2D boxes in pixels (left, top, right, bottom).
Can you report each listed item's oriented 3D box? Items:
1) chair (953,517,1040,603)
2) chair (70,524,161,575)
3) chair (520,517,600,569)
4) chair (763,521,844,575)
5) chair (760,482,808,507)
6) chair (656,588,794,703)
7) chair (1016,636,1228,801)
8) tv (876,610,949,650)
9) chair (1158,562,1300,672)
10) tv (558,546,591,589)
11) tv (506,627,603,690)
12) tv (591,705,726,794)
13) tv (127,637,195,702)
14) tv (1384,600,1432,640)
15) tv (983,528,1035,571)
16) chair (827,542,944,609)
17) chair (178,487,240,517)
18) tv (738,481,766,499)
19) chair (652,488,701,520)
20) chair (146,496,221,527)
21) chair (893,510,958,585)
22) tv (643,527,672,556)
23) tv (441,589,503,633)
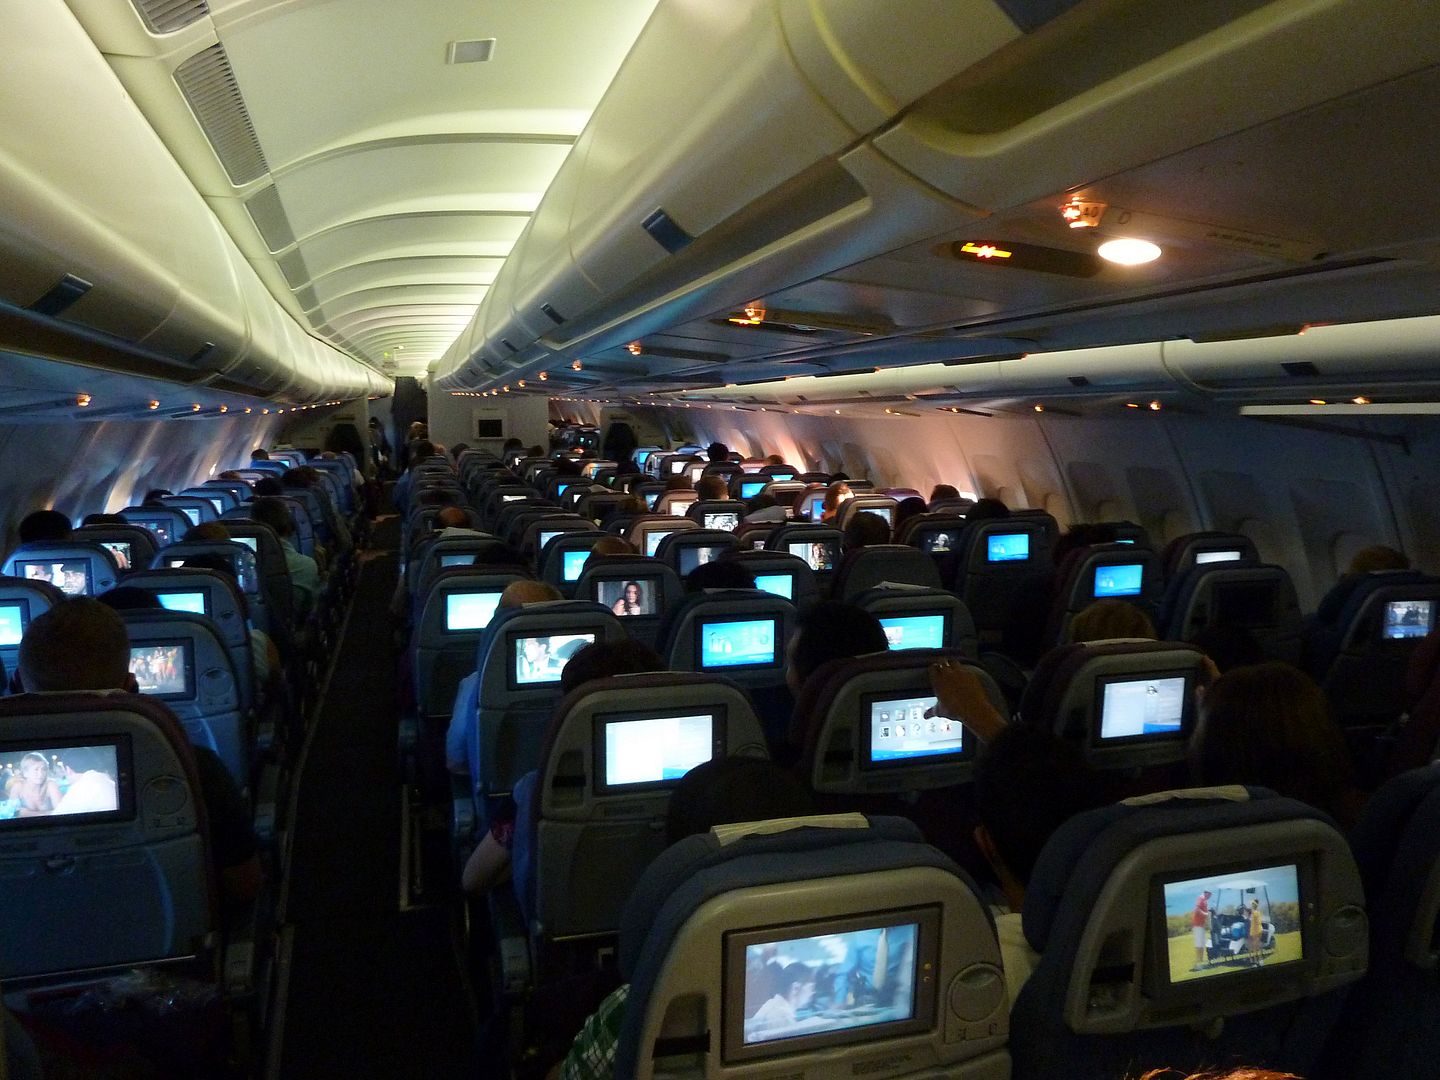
[{"bbox_3d":[2.506,0.190,8.779,0.680,0.975,0.798,1,14,0],"label":"chair"},{"bbox_3d":[-5.066,0.083,8.194,0.339,0.240,0.316,16,6,11],"label":"chair"},{"bbox_3d":[-1.584,-0.109,9.341,0.619,0.586,0.518,-4,22,-19],"label":"chair"},{"bbox_3d":[0.835,0.022,9.398,0.657,0.461,0.563,0,3,-12],"label":"chair"},{"bbox_3d":[0.915,-0.669,13.970,0.470,0.344,0.665,7,-6,-11],"label":"chair"},{"bbox_3d":[0.022,0.543,5.981,0.753,0.613,0.562,0,26,-15],"label":"chair"},{"bbox_3d":[1.905,0.784,4.459,0.905,0.837,0.822,0,4,-3],"label":"chair"},{"bbox_3d":[1.231,0.559,6.157,0.290,0.186,0.532,-2,-1,34],"label":"tv"},{"bbox_3d":[3.288,0.495,6.300,0.606,0.860,0.790,0,10,4],"label":"chair"},{"bbox_3d":[-1.206,0.221,7.992,0.349,0.469,0.046,1,3,-18],"label":"tv"},{"bbox_3d":[-0.810,0.555,4.710,0.346,0.241,0.036,-2,12,-19],"label":"tv"},{"bbox_3d":[-0.253,0.792,3.721,0.376,0.229,0.038,-2,6,-17],"label":"tv"},{"bbox_3d":[-3.039,0.679,5.309,0.404,0.373,0.052,-6,11,-19],"label":"tv"},{"bbox_3d":[4.071,0.466,5.821,0.238,0.215,0.124,0,3,-7],"label":"tv"},{"bbox_3d":[2.598,0.062,8.748,0.527,0.288,0.160,-1,-1,-27],"label":"tv"},{"bbox_3d":[1.360,0.271,7.952,0.529,0.731,0.596,0,4,-5],"label":"chair"},{"bbox_3d":[-6.051,-0.492,11.758,0.445,0.367,0.407,3,-10,-26],"label":"chair"},{"bbox_3d":[0.619,-0.799,16.136,0.102,0.303,0.440,14,8,40],"label":"tv"},{"bbox_3d":[-0.537,-0.471,12.416,0.396,0.553,0.300,4,15,-40],"label":"chair"},{"bbox_3d":[-5.758,-0.310,10.517,0.348,0.306,0.186,-3,17,-21],"label":"chair"},{"bbox_3d":[2.144,0.072,9.491,0.604,0.824,0.669,-1,7,-4],"label":"chair"},{"bbox_3d":[-0.604,0.009,9.196,0.236,0.315,0.032,8,-2,-20],"label":"tv"},{"bbox_3d":[-1.600,0.439,6.266,0.293,0.204,0.033,-2,10,-18],"label":"tv"}]
